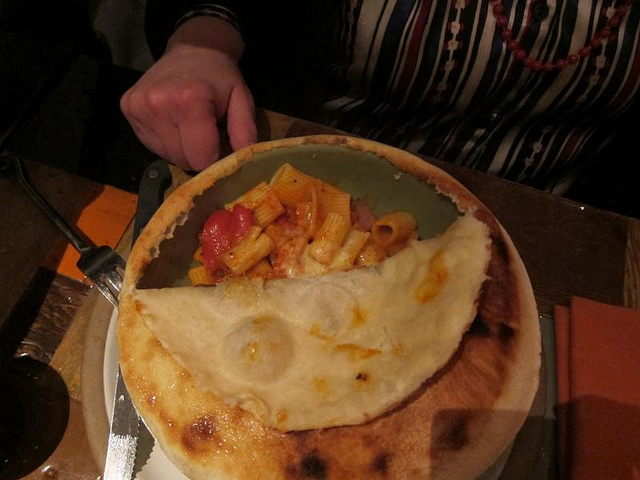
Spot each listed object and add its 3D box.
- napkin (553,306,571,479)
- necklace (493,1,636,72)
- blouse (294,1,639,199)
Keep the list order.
[{"bbox_3d":[0.880,0.545,2.157,0.047,0.099,0.592,6,67,0],"label":"napkin"},{"bbox_3d":[0.975,-0.841,2.389,0.549,0.231,0.246,-7,65,-7],"label":"necklace"},{"bbox_3d":[0.675,-0.647,2.557,0.949,1.089,0.436,11,53,6],"label":"blouse"}]
